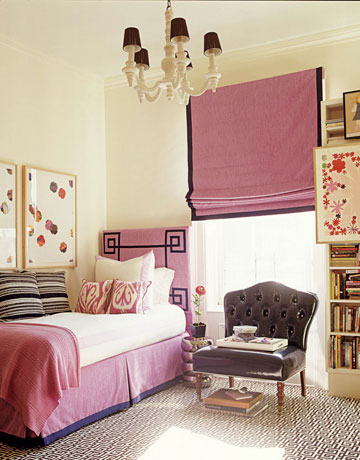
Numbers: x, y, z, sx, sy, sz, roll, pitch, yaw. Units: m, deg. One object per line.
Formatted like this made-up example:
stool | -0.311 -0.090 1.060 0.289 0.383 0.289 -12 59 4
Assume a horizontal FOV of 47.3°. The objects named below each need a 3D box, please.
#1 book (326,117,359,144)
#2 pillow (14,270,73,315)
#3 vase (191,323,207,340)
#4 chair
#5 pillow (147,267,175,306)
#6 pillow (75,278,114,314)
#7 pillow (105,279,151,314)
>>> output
book | 1.233 -0.772 3.253 0.240 0.169 0.246 1 4 -41
pillow | -1.155 0.547 3.609 0.110 0.344 0.380 -17 -7 20
vase | 0.155 0.836 3.430 0.121 0.152 0.104 4 -9 -29
chair | 0.566 0.843 3.067 0.758 0.941 0.670 -2 0 35
pillow | -0.186 0.524 3.875 0.296 0.310 0.088 3 -16 -6
pillow | -0.735 0.573 3.520 0.360 0.289 0.148 -2 1 38
pillow | -0.400 0.538 3.445 0.417 0.379 0.222 1 -10 12
